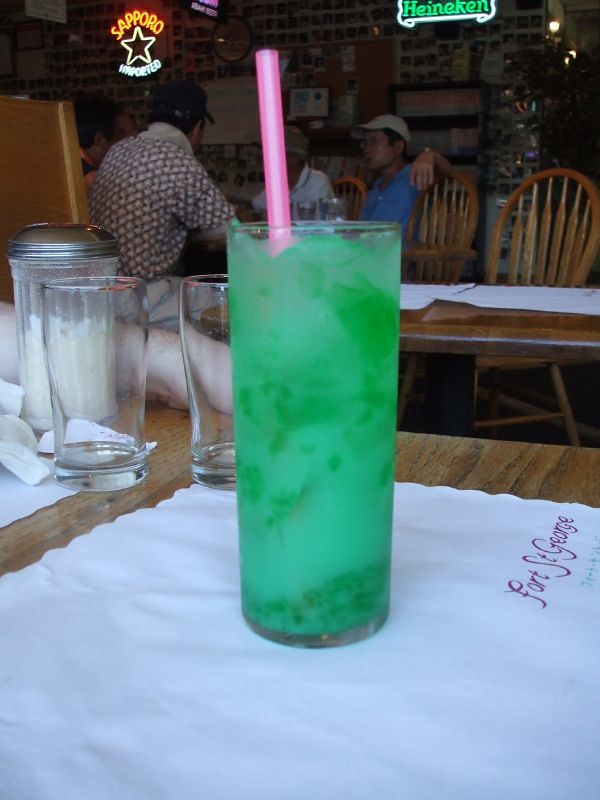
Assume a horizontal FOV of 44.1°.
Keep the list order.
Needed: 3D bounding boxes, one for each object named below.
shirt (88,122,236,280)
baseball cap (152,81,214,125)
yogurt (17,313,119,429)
[{"bbox_3d":[-0.538,-0.793,2.785,0.288,0.410,0.518,-3,29,-45],"label":"shirt"},{"bbox_3d":[-0.536,-1.381,3.449,0.212,0.134,0.283,9,23,16],"label":"baseball cap"},{"bbox_3d":[-0.223,-0.035,0.686,0.080,0.105,0.075,3,4,26],"label":"yogurt"}]
